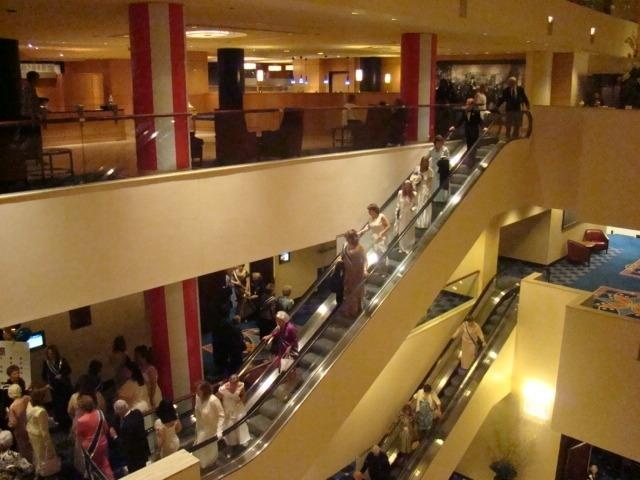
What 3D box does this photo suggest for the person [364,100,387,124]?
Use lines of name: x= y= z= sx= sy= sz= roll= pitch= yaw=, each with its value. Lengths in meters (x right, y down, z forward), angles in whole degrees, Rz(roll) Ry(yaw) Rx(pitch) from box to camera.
person: x=1.422 y=-3.100 z=12.815 sx=0.127 sy=0.505 sz=0.843 roll=10 pitch=19 yaw=43

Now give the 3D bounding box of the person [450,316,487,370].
person: x=4.092 y=2.772 z=14.120 sx=0.826 sy=1.539 sz=0.586 roll=1 pitch=13 yaw=12

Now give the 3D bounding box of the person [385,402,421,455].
person: x=2.110 y=4.687 z=12.864 sx=0.722 sy=1.258 sz=0.453 roll=0 pitch=13 yaw=10

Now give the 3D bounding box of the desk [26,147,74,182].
desk: x=-4.282 y=-1.264 z=8.066 sx=0.527 sy=0.537 sz=0.480 roll=-14 pitch=38 yaw=-26

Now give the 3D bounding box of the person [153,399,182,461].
person: x=-2.475 y=2.982 z=8.264 sx=0.428 sy=1.001 sz=0.299 roll=-8 pitch=14 yaw=-23

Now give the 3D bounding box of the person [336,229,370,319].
person: x=0.687 y=0.714 z=10.584 sx=0.635 sy=1.877 sz=0.324 roll=-5 pitch=13 yaw=-12

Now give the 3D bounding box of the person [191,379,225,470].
person: x=-1.891 y=3.131 z=8.674 sx=0.535 sy=1.625 sz=0.377 roll=-5 pitch=13 yaw=-14

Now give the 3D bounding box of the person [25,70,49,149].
person: x=-4.761 y=-2.181 z=8.550 sx=0.335 sy=1.243 sz=1.866 roll=-9 pitch=16 yaw=-26

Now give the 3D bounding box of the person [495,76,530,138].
person: x=5.582 y=-3.854 z=14.896 sx=0.643 sy=1.692 sz=1.549 roll=8 pitch=17 yaw=38

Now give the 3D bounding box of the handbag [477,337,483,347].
handbag: x=4.460 y=2.870 z=14.306 sx=0.073 sy=0.330 sz=0.211 roll=-7 pitch=-1 yaw=-27

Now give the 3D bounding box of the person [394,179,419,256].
person: x=1.994 y=-0.552 z=11.996 sx=0.537 sy=1.558 sz=0.955 roll=0 pitch=14 yaw=10

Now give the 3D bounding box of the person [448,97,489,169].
person: x=4.104 y=-2.970 z=14.035 sx=0.823 sy=1.729 sz=1.589 roll=-1 pitch=14 yaw=4
